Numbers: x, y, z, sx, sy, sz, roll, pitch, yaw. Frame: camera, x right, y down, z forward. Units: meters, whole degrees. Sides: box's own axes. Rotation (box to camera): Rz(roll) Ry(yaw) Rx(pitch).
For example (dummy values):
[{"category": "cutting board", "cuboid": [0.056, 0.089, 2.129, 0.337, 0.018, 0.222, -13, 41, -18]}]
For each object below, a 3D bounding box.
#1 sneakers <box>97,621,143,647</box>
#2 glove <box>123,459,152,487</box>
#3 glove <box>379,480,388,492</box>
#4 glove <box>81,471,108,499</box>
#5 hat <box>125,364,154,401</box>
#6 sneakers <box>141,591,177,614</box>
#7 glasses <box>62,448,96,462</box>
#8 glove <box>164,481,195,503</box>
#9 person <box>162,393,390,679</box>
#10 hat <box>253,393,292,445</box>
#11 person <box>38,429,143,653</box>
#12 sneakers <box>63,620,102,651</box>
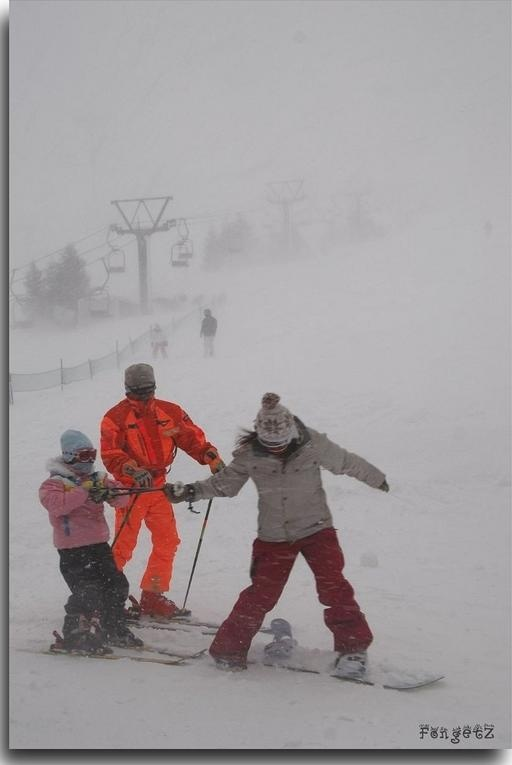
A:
[{"category": "sneakers", "cuboid": [-0.743, 1.422, 5.409, 0.293, 0.108, 0.091, 2, -7, -3]}, {"category": "glove", "cuboid": [-0.663, 0.509, 5.413, 0.072, 0.108, 0.179, -26, 35, -28]}, {"category": "glove", "cuboid": [0.673, 0.556, 5.138, 0.025, 0.082, 0.089, 14, 2, 12]}, {"category": "glove", "cuboid": [-0.882, 0.565, 5.263, 0.062, 0.138, 0.142, -36, -42, 8]}, {"category": "hat", "cuboid": [-0.672, -0.004, 5.519, 0.180, 0.185, 0.213, 0, -11, -11]}, {"category": "sneakers", "cuboid": [-0.590, 1.310, 5.740, 0.203, 0.111, 0.116, 19, -11, -9]}, {"category": "glasses", "cuboid": [-0.971, 0.402, 5.285, 0.170, 0.083, 0.069, 0, 1, -12]}, {"category": "glove", "cuboid": [-0.417, 0.581, 5.111, 0.162, 0.116, 0.100, 0, 1, -29]}, {"category": "person", "cuboid": [0.090, 0.922, 5.529, 1.507, 1.680, 0.535, -7, -9, 1]}, {"category": "hat", "cuboid": [0.093, 0.196, 5.059, 0.223, 0.276, 0.184, 0, 1, 1]}, {"category": "person", "cuboid": [-0.913, 0.888, 5.343, 0.555, 1.245, 0.387, 0, 1, -6]}, {"category": "sneakers", "cuboid": [-0.977, 1.406, 5.355, 0.246, 0.072, 0.170, 0, 41, 12]}]
